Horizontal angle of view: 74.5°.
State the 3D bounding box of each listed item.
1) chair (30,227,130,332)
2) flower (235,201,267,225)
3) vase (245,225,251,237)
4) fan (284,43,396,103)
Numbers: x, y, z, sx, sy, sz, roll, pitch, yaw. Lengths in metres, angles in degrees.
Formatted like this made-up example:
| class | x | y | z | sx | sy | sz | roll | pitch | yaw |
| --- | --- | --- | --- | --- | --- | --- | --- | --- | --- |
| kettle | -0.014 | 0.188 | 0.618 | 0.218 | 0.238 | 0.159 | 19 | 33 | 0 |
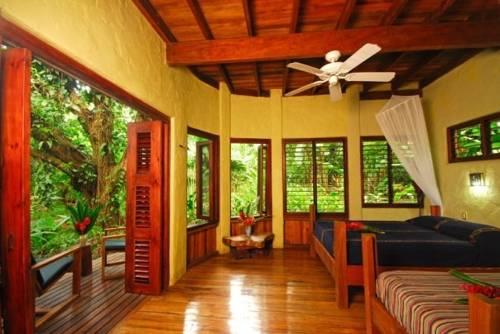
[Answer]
| class | x | y | z | sx | sy | sz | roll | pitch | yaw |
| --- | --- | --- | --- | --- | --- | --- | --- | --- | --- |
| chair | -2.727 | 1.566 | 5.138 | 0.867 | 0.938 | 1.909 | 4 | 13 | 15 |
| flower | 0.034 | 0.993 | 7.232 | 0.554 | 0.525 | 1.048 | 0 | 12 | -1 |
| vase | -0.035 | 1.319 | 6.776 | 0.100 | 0.258 | 0.138 | -3 | 14 | -10 |
| fan | 1.351 | -1.344 | 4.788 | 1.367 | 0.744 | 0.954 | 5 | 13 | 20 |
